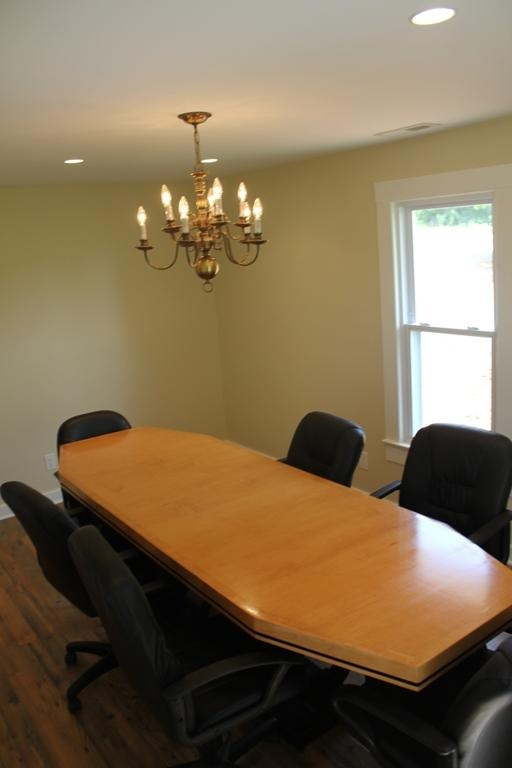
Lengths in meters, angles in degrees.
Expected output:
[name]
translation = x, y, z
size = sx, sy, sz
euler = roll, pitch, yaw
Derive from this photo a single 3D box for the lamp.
[lamp]
translation = -0.218, -0.705, 2.282
size = 0.465, 0.672, 0.458
euler = -5, 7, -2
